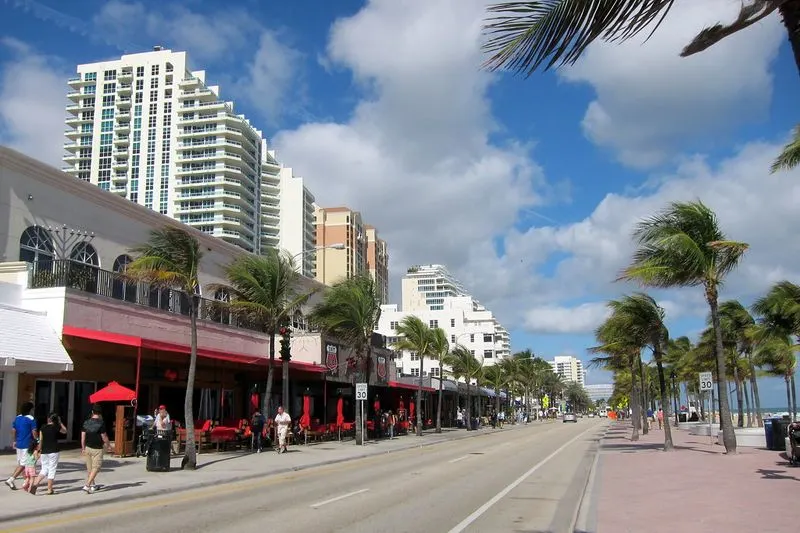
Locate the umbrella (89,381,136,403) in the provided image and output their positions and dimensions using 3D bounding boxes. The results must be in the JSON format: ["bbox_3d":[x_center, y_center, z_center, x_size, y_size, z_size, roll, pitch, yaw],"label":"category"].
[{"bbox_3d":[-13.186,5.656,29.220,1.476,0.730,1.526,-2,-26,4],"label":"umbrella"}]

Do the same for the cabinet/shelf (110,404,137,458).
[{"bbox_3d":[-12.292,7.264,28.627,0.970,2.191,1.766,5,-20,-23],"label":"cabinet/shelf"}]

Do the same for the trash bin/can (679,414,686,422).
[{"bbox_3d":[27.265,14.402,62.014,0.409,0.766,1.791,-14,-22,31],"label":"trash bin/can"}]

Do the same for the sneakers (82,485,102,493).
[{"bbox_3d":[-9.475,6.764,19.869,0.641,0.291,0.233,1,-4,-20],"label":"sneakers"}]

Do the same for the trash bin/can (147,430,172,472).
[{"bbox_3d":[-9.114,6.894,24.294,0.943,1.471,0.427,-9,-19,18],"label":"trash bin/can"}]
